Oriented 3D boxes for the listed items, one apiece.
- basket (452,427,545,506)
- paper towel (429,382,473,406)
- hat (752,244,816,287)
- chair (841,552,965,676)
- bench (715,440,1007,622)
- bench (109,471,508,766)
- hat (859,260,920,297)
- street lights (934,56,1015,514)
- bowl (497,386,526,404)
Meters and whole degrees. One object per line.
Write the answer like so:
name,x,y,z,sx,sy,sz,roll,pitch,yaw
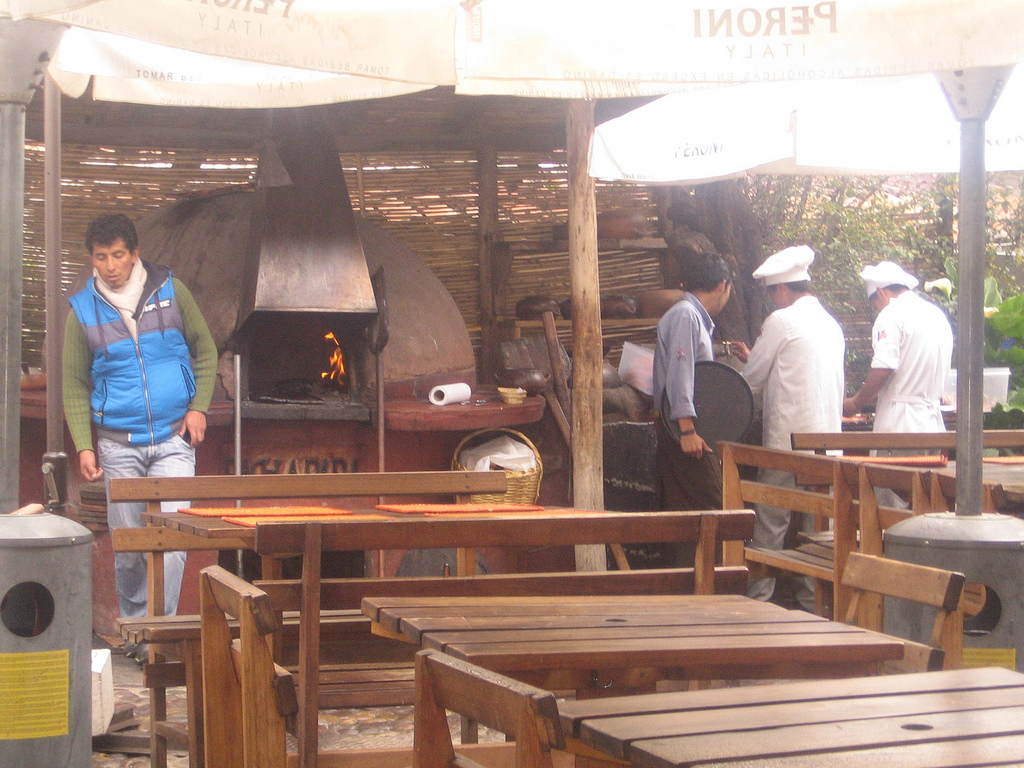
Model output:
basket,-0.088,0.539,10.935,0.554,0.535,0.647,6,7,-5
paper towel,-0.376,0.066,10.909,0.314,0.135,0.237,0,1,-23
hat,1.747,-0.723,10.999,0.290,0.130,0.275,-5,19,5
chair,1.479,0.966,6.681,0.243,0.584,0.581,-7,6,-30
bench,1.830,0.797,8.545,0.723,1.176,1.645,2,-3,-26
bench,-0.890,1.007,7.316,1.221,0.832,0.451,0,-2,-27
hat,2.451,-0.704,11.197,0.267,0.164,0.255,-2,6,14
street lights,2.021,-0.423,7.537,0.283,1.961,0.395,1,2,9
bowl,0.005,0.074,11.131,0.160,0.101,0.255,0,1,-3
